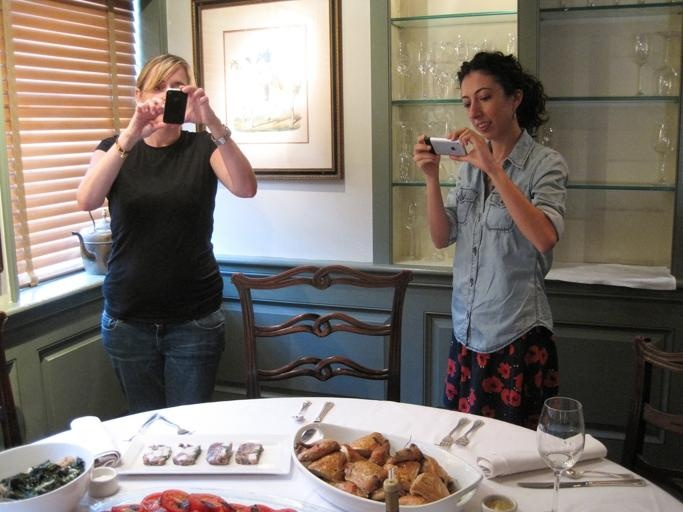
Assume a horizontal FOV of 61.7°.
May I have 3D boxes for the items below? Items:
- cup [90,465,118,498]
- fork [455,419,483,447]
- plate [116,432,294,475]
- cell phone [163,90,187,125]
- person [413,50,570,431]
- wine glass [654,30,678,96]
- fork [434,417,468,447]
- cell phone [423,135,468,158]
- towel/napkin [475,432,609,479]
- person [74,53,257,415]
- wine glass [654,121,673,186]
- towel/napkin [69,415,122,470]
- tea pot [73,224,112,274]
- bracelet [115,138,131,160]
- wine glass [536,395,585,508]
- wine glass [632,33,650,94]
[{"bbox_3d":[-0.558,0.536,1.352,0.059,0.048,0.062,3,18,-1],"label":"cup"},{"bbox_3d":[0.349,0.483,1.549,0.030,0.030,0.207,14,6,23],"label":"fork"},{"bbox_3d":[-0.329,0.509,1.456,0.260,0.031,0.165,1,10,3],"label":"plate"},{"bbox_3d":[-0.579,-0.521,1.991,0.082,0.121,0.027,6,26,-15],"label":"cell phone"},{"bbox_3d":[0.550,-0.074,2.052,0.473,1.273,0.516,-4,14,-1],"label":"person"},{"bbox_3d":[1.486,-0.878,2.591,0.094,0.286,0.140,4,16,27],"label":"wine glass"},{"bbox_3d":[0.311,0.483,1.560,0.033,0.028,0.238,15,15,20],"label":"fork"},{"bbox_3d":[0.380,-0.395,2.064,0.194,0.112,0.020,0,51,46],"label":"cell phone"},{"bbox_3d":[0.497,0.501,1.448,0.240,0.055,0.141,-7,8,-11],"label":"towel/napkin"},{"bbox_3d":[-0.627,-0.076,2.166,0.606,1.325,0.389,-12,16,-30],"label":"person"},{"bbox_3d":[1.486,-0.479,2.624,0.079,0.282,0.156,5,16,30],"label":"wine glass"},{"bbox_3d":[-0.646,0.471,1.501,0.088,0.041,0.154,-2,18,-22],"label":"towel/napkin"},{"bbox_3d":[-1.235,-0.025,2.916,0.186,0.234,0.258,-5,8,-2],"label":"tea pot"},{"bbox_3d":[-0.784,-0.384,2.087,0.055,0.076,0.041,27,44,29],"label":"bracelet"},{"bbox_3d":[0.512,0.440,1.324,0.095,0.266,0.192,4,16,26],"label":"wine glass"},{"bbox_3d":[1.393,-0.890,2.644,0.069,0.274,0.097,4,16,26],"label":"wine glass"}]
